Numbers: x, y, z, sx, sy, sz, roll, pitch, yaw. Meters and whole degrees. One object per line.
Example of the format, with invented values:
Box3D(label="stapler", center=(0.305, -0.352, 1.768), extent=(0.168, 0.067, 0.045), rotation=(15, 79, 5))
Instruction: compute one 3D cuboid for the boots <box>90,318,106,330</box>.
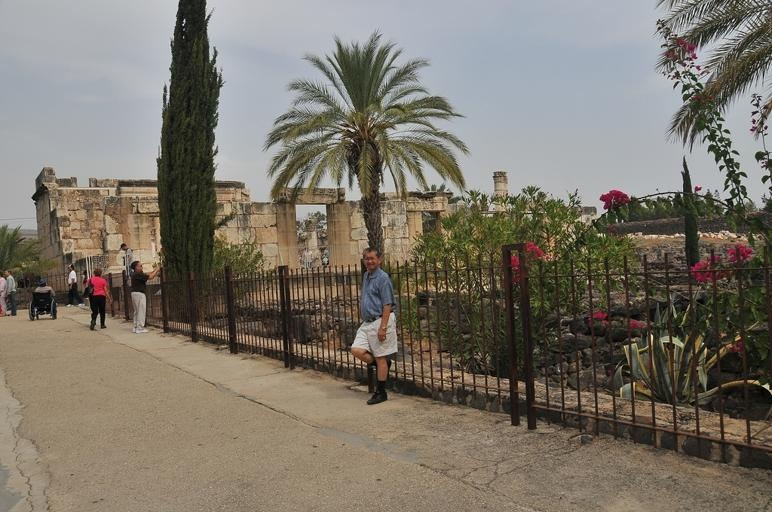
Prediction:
Box3D(label="boots", center=(-8.159, 1.895, 18.220), extent=(0.268, 0.359, 0.827), rotation=(-1, 9, -8))

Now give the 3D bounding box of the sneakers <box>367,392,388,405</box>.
Box3D(label="sneakers", center=(-0.146, 2.102, 9.658), extent=(0.262, 0.112, 0.136), rotation=(1, -7, -35))

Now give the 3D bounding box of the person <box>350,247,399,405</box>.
Box3D(label="person", center=(-0.178, 1.024, 9.675), extent=(0.643, 2.268, 0.532), rotation=(1, 7, 14))

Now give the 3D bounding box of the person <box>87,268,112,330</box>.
Box3D(label="person", center=(-8.199, 1.166, 18.421), extent=(0.741, 1.720, 0.620), rotation=(0, -1, 44))
